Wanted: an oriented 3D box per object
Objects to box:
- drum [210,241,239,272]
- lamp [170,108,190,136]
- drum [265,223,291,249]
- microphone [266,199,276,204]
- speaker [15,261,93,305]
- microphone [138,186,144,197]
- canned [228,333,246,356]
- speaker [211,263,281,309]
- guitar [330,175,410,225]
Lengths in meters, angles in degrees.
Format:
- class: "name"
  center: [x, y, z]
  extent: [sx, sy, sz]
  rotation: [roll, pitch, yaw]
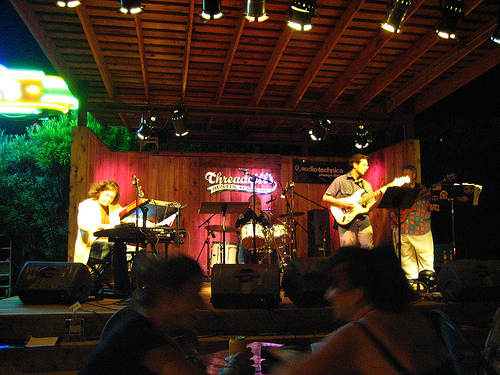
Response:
- class: "drum"
  center: [-0.506, 1.267, 9.525]
  extent: [0.654, 0.510, 0.688]
  rotation: [10, -6, 1]
- class: "lamp"
  center: [-1.241, -1.171, 9.017]
  extent: [0.263, 0.443, 0.354]
  rotation: [1, -12, -2]
- class: "drum"
  center: [0.500, 0.894, 9.042]
  extent: [0.395, 0.309, 0.423]
  rotation: [-5, -41, -5]
- class: "microphone"
  center: [0.437, 0.275, 10.462]
  extent: [0.065, 0.049, 0.399]
  rotation: [-34, -11, 23]
- class: "speaker"
  center: [-2.634, 1.268, 6.908]
  extent: [0.703, 0.529, 0.620]
  rotation: [-2, -5, 11]
- class: "microphone"
  center: [-1.914, 0.071, 8.997]
  extent: [0.150, 0.218, 0.053]
  rotation: [-3, 0, -32]
- class: "canned"
  center: [-0.107, 1.368, 4.480]
  extent: [0.148, 0.176, 0.156]
  rotation: [1, -8, 1]
- class: "speaker"
  center: [-0.053, 1.274, 6.677]
  extent: [0.892, 0.565, 0.225]
  rotation: [0, -11, -1]
- class: "guitar"
  center: [1.860, 0.254, 8.405]
  extent: [1.546, 0.598, 0.186]
  rotation: [-35, -18, 26]
